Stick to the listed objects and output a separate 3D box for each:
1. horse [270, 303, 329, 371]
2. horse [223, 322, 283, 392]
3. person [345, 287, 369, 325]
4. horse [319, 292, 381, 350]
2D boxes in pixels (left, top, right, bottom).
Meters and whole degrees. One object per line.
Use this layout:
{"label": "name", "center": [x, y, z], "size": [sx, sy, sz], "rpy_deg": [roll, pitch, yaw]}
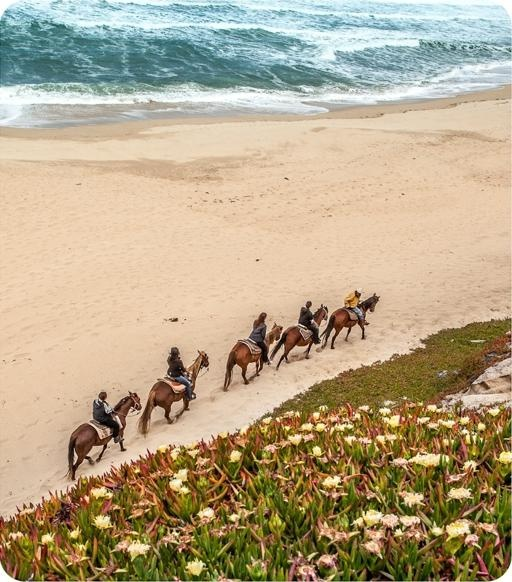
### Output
{"label": "horse", "center": [1.008, 1.126, 18.052], "size": [0.521, 1.237, 2.134], "rpy_deg": [26, 33, 37]}
{"label": "horse", "center": [-0.109, 1.545, 17.217], "size": [0.489, 1.170, 2.092], "rpy_deg": [21, 21, 33]}
{"label": "person", "center": [2.503, 0.468, 18.821], "size": [0.522, 0.893, 0.671], "rpy_deg": [0, 18, 13]}
{"label": "horse", "center": [2.353, 0.726, 18.959], "size": [2.178, 1.112, 0.495], "rpy_deg": [-12, 27, -43]}
